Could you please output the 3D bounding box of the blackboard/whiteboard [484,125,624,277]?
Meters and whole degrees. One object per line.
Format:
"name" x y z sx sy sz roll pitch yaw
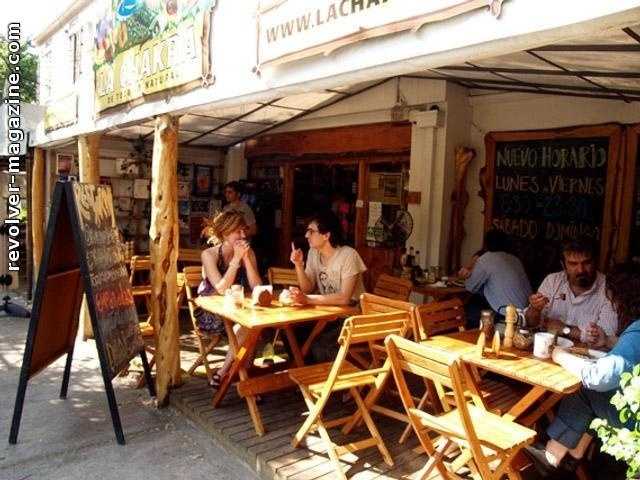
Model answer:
"blackboard/whiteboard" 3.062 -0.490 5.827 0.118 2.248 1.948 -3 8 -41

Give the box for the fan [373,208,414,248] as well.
"fan" 1.217 -0.175 7.502 0.232 0.584 0.583 8 2 -39

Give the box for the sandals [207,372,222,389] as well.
"sandals" -1.138 1.515 4.870 0.145 0.088 0.331 -1 23 -14

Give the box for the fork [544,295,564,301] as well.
"fork" 2.110 0.523 4.088 0.072 0.036 0.110 3 -6 -38

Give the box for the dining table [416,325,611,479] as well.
"dining table" 1.433 1.001 3.455 1.065 0.945 1.256 -8 14 -34

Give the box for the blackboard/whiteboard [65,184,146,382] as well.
"blackboard/whiteboard" -2.075 0.363 4.479 0.393 1.863 1.226 -5 10 -16

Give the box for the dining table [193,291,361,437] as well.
"dining table" -0.444 1.114 4.413 1.275 1.025 1.366 0 0 -35

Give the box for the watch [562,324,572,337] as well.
"watch" 2.082 0.769 3.834 0.018 0.075 0.076 21 -23 -36

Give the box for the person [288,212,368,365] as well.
"person" 0.012 0.627 4.999 0.965 1.742 0.804 -7 5 -30

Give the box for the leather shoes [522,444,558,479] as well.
"leather shoes" 1.644 1.653 3.397 0.087 0.203 0.201 -4 9 -28
